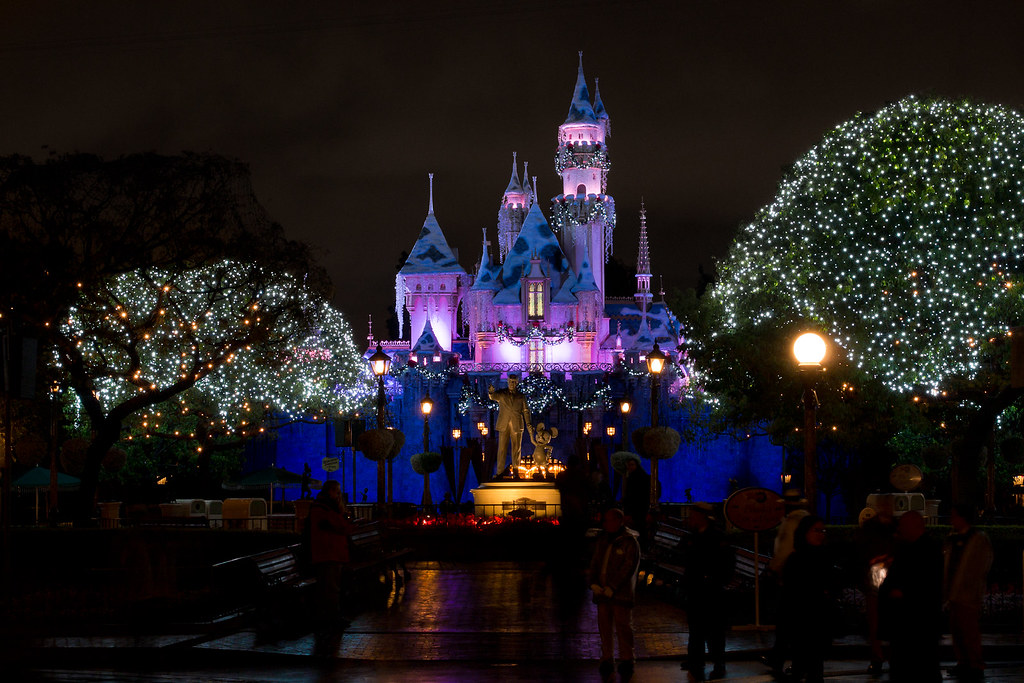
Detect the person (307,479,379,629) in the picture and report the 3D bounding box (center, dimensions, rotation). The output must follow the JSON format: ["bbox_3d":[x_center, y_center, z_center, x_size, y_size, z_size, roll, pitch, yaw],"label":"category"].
[{"bbox_3d":[-3.407,3.984,28.424,0.783,2.771,0.881,3,-7,-19],"label":"person"}]
